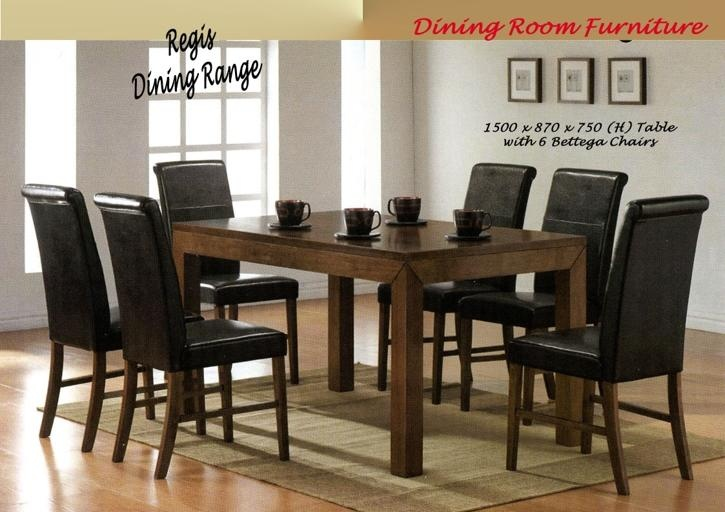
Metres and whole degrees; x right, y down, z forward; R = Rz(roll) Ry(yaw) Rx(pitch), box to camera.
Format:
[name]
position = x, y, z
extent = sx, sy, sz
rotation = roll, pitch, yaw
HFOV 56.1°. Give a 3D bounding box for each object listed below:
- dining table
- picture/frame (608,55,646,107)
[dining table]
position = 0.108, 0.051, 3.065
extent = 1.293, 0.937, 2.066
rotation = -2, 3, -40
[picture/frame]
position = 2.089, -1.389, 5.361
extent = 0.060, 0.380, 0.305
rotation = -9, 12, -41
